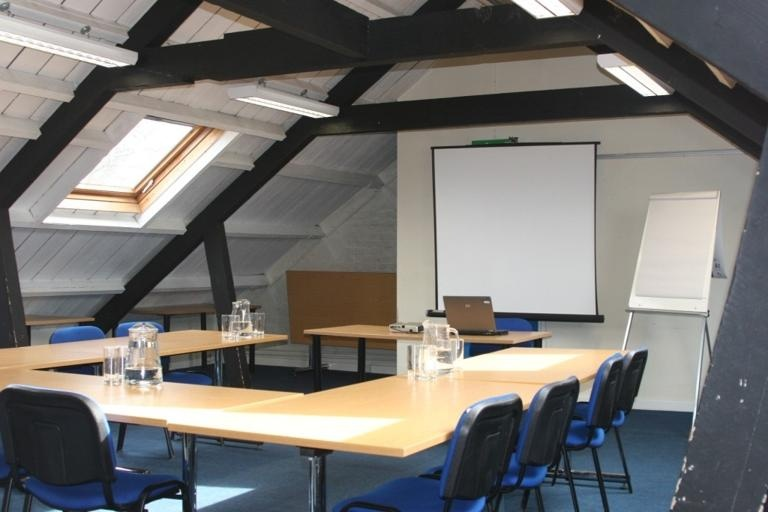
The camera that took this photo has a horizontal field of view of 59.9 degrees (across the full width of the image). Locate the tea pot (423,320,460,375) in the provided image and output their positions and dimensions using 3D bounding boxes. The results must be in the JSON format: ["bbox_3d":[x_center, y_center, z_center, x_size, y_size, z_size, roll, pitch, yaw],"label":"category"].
[{"bbox_3d":[0.375,0.584,4.472,0.402,0.335,0.241,1,-1,-4],"label":"tea pot"}]

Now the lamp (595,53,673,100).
[{"bbox_3d":[2.186,-1.534,5.808,0.433,0.099,0.847,8,-6,43],"label":"lamp"}]

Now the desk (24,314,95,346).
[{"bbox_3d":[-3.679,0.818,7.581,0.439,0.356,0.411,1,0,-23],"label":"desk"}]

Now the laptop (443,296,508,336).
[{"bbox_3d":[0.890,0.548,6.367,0.548,0.316,0.443,-2,2,22],"label":"laptop"}]

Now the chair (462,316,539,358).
[{"bbox_3d":[1.177,0.757,6.540,0.538,0.279,0.495,-1,-2,28],"label":"chair"}]

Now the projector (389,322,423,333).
[{"bbox_3d":[0.237,0.713,6.598,0.256,0.091,0.283,2,-5,-14],"label":"projector"}]
